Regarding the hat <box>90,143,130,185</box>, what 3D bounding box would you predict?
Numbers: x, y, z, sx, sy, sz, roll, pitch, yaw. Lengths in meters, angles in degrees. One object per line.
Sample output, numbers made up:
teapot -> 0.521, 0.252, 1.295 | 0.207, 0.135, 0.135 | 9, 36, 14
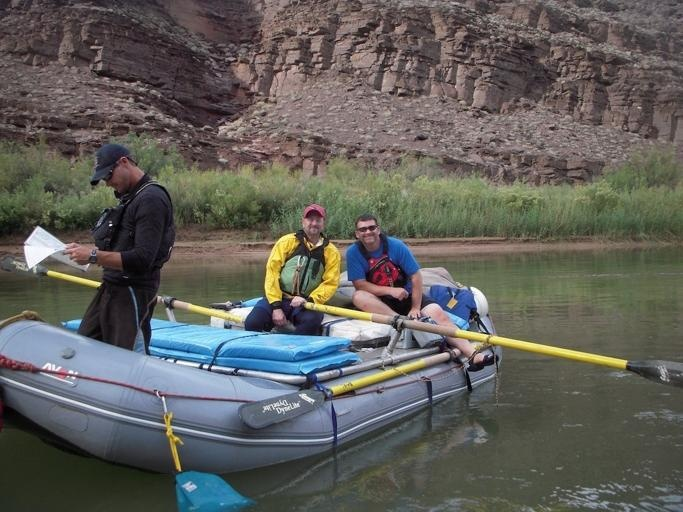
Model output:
hat -> -1.903, -0.751, 5.581 | 0.238, 0.306, 0.432 | 6, 13, 10

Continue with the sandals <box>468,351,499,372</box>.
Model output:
sandals -> 1.455, 1.035, 6.914 | 0.406, 0.136, 0.144 | -17, -16, 38

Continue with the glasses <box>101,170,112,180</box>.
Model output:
glasses -> -1.896, -0.660, 5.620 | 0.089, 0.077, 0.027 | -12, -24, 31

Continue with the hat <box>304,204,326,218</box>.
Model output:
hat -> -0.283, -0.500, 7.356 | 0.213, 0.243, 0.275 | 1, 1, -1

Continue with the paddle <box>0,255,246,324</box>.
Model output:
paddle -> -2.867, 0.448, 8.856 | 3.290, 0.326, 0.305 | 12, -36, 18
